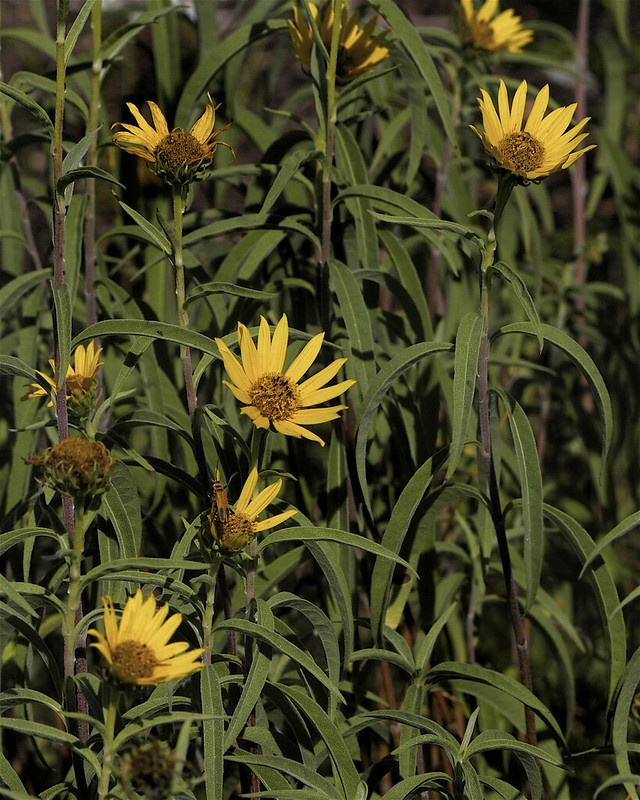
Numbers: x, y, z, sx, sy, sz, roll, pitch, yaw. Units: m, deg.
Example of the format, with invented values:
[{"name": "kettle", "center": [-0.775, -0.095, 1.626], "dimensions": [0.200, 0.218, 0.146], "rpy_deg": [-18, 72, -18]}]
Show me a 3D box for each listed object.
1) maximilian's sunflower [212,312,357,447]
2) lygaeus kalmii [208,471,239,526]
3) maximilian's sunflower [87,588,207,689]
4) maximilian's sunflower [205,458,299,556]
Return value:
[{"name": "maximilian's sunflower", "center": [-0.040, -0.021, 0.811], "dimensions": [0.117, 0.115, 0.049], "rpy_deg": [-1, 64, 18]}, {"name": "lygaeus kalmii", "center": [-0.079, 0.076, 0.771], "dimensions": [0.021, 0.013, 0.033], "rpy_deg": [-5, 54, 4]}, {"name": "maximilian's sunflower", "center": [-0.131, 0.170, 0.691], "dimensions": [0.076, 0.032, 0.074], "rpy_deg": [12, 23, 0]}, {"name": "maximilian's sunflower", "center": [-0.054, 0.081, 0.754], "dimensions": [0.055, 0.031, 0.061], "rpy_deg": [30, 60, 28]}]
